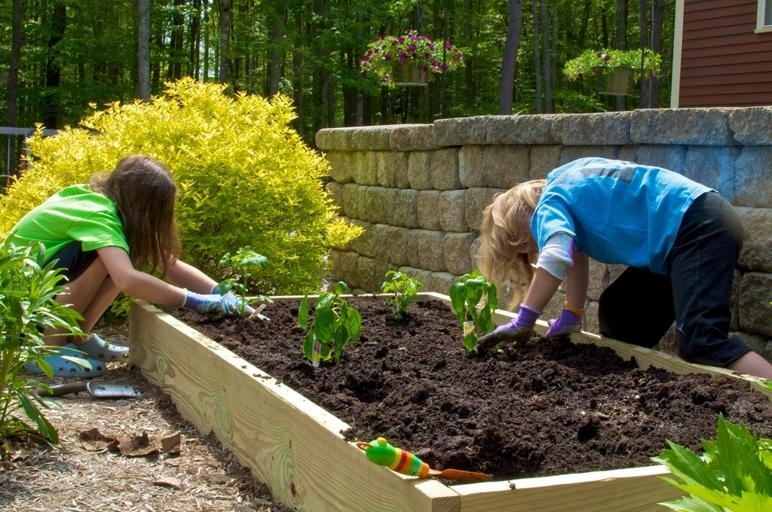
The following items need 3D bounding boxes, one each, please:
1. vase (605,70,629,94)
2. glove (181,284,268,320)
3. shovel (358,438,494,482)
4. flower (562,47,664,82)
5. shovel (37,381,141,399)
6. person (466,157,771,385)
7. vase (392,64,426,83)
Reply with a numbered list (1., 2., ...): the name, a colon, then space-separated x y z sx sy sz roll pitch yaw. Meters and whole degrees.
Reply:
1. vase: 3.252 -2.450 10.581 0.290 0.305 0.296 2 8 13
2. glove: -1.107 0.309 5.023 0.435 0.273 0.373 1 -1 -14
3. shovel: 0.160 0.841 3.160 0.557 0.205 0.195 1 5 -8
4. flower: 3.336 -2.778 10.952 1.412 0.601 1.429 3 9 19
5. shovel: -1.811 0.822 4.564 0.340 0.067 0.173 0 3 -13
6. person: 1.408 0.012 4.489 1.554 1.199 0.828 3 5 18
7. vase: 0.370 -2.766 11.481 0.550 0.268 0.420 1 5 -5
